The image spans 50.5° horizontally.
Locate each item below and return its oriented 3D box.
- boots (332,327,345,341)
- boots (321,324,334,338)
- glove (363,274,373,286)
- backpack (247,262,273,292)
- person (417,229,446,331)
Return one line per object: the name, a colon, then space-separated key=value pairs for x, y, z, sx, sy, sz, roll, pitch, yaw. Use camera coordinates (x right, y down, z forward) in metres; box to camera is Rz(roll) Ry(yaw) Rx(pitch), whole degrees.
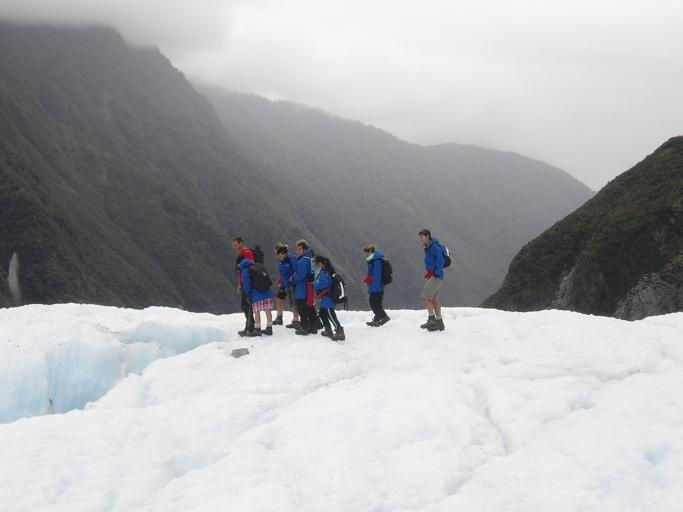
boots: x=-0.051 y=2.189 z=20.317 sx=0.339 sy=0.378 sz=0.377 roll=1 pitch=13 yaw=-1
boots: x=-0.399 y=2.154 z=20.572 sx=0.328 sy=0.292 sz=0.809 roll=0 pitch=13 yaw=-2
glove: x=0.770 y=0.737 z=21.058 sx=0.236 sy=0.133 sz=0.325 roll=11 pitch=7 yaw=-3
backpack: x=-2.278 y=0.648 z=20.561 sx=0.727 sy=0.762 sz=0.348 roll=5 pitch=13 yaw=19
person: x=2.686 y=0.696 z=21.160 sx=0.835 sy=3.082 sz=1.584 roll=3 pitch=13 yaw=9
